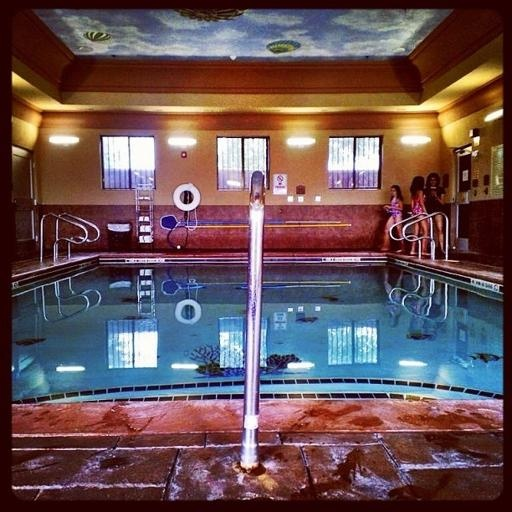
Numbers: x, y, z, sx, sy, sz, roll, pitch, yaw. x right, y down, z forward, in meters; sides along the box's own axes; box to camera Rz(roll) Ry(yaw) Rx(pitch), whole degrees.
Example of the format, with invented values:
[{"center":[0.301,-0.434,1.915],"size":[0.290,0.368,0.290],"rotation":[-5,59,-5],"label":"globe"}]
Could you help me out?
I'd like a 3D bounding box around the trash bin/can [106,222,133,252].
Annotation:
[{"center":[-3.643,-0.470,11.136],"size":[0.804,0.807,0.730],"rotation":[0,2,-6],"label":"trash bin/can"}]
